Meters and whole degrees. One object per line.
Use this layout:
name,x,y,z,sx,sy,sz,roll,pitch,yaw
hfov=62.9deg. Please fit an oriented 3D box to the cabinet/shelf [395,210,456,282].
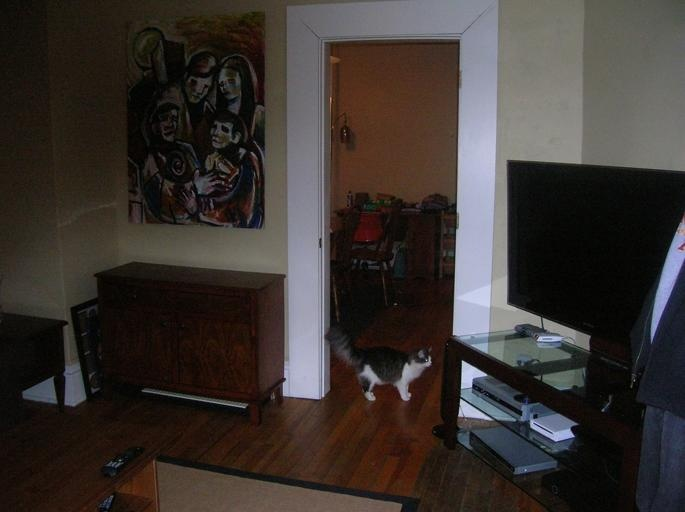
cabinet/shelf,1.162,-0.196,7.754,0.741,1.157,0.912,3,16,11

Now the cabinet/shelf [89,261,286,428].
cabinet/shelf,-1.023,0.551,3.851,1.216,0.882,0.420,5,13,15

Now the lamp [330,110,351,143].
lamp,-0.011,-1.880,8.261,0.326,0.441,0.121,7,14,24

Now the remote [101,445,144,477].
remote,-0.996,0.913,2.534,0.112,0.044,0.206,8,15,26
